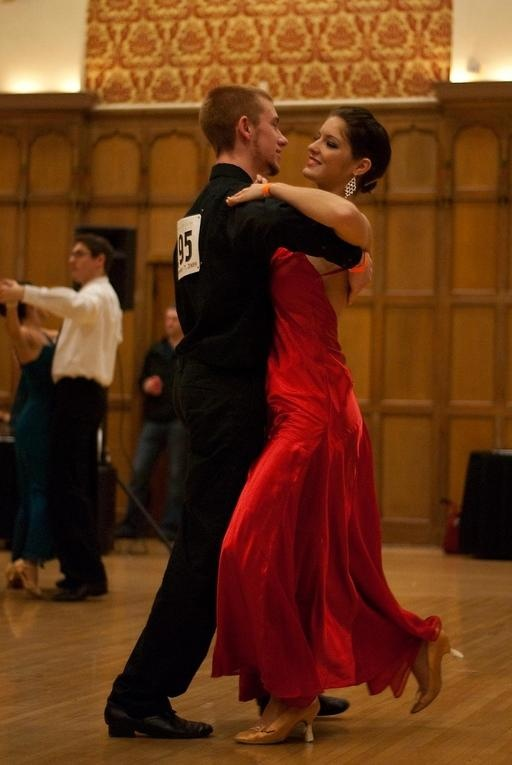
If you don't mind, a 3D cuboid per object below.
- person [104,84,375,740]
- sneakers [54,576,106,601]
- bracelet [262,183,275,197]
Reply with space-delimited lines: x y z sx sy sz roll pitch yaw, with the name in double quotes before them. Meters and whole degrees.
"person" -0.032 0.039 1.673 0.532 1.413 0.305 1 -3 35
"sneakers" -0.888 1.039 4.062 0.252 0.087 0.229 3 -2 -9
"bracelet" 0.020 -0.372 1.560 0.021 0.029 0.011 8 -31 8
